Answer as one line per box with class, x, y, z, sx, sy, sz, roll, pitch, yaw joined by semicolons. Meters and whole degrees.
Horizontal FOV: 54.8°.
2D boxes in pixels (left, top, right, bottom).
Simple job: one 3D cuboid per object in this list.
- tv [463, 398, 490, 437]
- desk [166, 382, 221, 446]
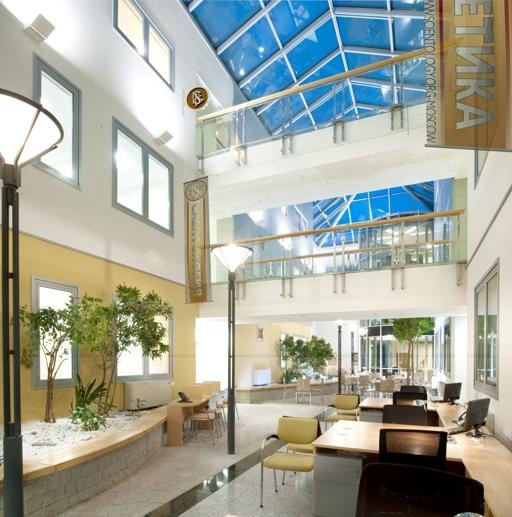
tv;2.151;1.531;4.774;0.410;0.361;0.101;0;6;-39
desk;-1.100;2.671;8.631;0.449;0.897;1.849;-1;-10;6
